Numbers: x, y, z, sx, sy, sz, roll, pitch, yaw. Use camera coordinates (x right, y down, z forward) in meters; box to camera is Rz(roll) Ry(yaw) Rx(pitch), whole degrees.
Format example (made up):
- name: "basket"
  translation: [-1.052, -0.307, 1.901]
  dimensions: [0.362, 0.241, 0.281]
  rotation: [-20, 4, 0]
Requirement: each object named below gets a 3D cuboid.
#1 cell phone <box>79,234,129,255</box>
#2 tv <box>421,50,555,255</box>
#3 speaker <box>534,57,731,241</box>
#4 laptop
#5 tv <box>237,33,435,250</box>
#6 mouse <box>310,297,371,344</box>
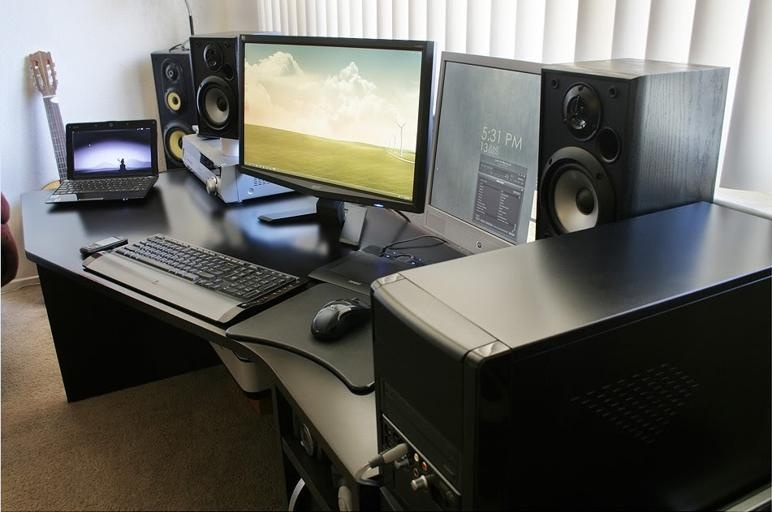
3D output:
- name: "cell phone"
  translation: [-0.838, -0.032, 1.624]
  dimensions: [0.058, 0.023, 0.100]
  rotation: [17, 35, 43]
- name: "tv"
  translation: [0.240, -0.244, 1.284]
  dimensions: [0.043, 0.441, 0.414]
  rotation: [-7, 19, -27]
- name: "speaker"
  translation: [0.499, -0.203, 1.184]
  dimensions: [0.324, 0.419, 0.251]
  rotation: [-16, 29, -23]
- name: "laptop"
  translation: [-1.001, -0.369, 1.970]
  dimensions: [0.316, 0.214, 0.253]
  rotation: [-5, 12, -16]
- name: "tv"
  translation: [-0.164, -0.336, 1.664]
  dimensions: [0.693, 0.613, 0.169]
  rotation: [15, 22, 32]
- name: "mouse"
  translation: [-0.103, 0.140, 1.221]
  dimensions: [0.068, 0.050, 0.131]
  rotation: [16, 34, 33]
